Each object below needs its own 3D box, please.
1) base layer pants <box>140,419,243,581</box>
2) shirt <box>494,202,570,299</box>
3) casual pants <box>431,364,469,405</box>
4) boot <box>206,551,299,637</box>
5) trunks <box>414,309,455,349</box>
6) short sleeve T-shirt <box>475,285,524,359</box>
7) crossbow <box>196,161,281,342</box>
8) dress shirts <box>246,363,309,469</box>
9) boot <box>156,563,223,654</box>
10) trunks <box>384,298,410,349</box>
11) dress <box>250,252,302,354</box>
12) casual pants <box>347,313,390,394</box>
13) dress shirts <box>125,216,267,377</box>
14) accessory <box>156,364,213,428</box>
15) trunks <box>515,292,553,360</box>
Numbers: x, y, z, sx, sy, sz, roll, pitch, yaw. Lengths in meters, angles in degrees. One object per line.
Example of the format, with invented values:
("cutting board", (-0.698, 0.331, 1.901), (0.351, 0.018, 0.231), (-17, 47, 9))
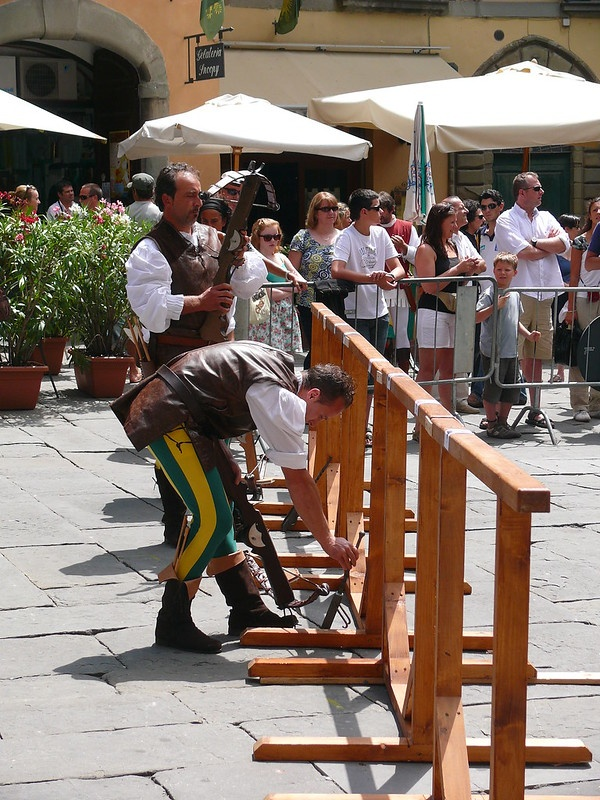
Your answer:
("base layer pants", (-0.363, 0.352, 4.210), (0.391, 0.592, 0.179), (2, 6, -14))
("shirt", (1.973, -1.283, 9.821), (0.390, 0.692, 0.508), (17, 14, 7))
("casual pants", (1.071, -0.121, 8.521), (0.290, 0.210, 0.369), (-4, -23, 0))
("boot", (-0.165, 0.747, 4.455), (0.309, 0.295, 0.133), (-7, -8, 6))
("trunks", (0.993, -0.519, 8.575), (0.268, 0.272, 0.361), (-7, 6, 8))
("short sleeve T-shirt", (1.451, -0.581, 8.674), (0.539, 0.589, 0.263), (-8, 11, -40))
("crossbow", (-0.316, -0.683, 5.427), (0.218, 0.695, 0.504), (29, 15, 31))
("dress shirts", (-0.027, 0.057, 3.911), (0.110, 0.276, 0.214), (-39, 36, -28))
("boot", (-0.358, 0.798, 4.309), (0.362, 0.329, 0.147), (4, 9, 1))
("trunks", (0.702, -0.575, 8.662), (0.157, 0.547, 0.158), (-19, 49, -11))
("dress", (-0.141, -0.654, 8.609), (0.247, 0.645, 0.284), (-2, 11, 29))
("casual pants", (0.529, -0.363, 8.517), (0.213, 0.570, 0.142), (1, 7, 27))
("dress shirts", (-0.529, -0.442, 5.113), (0.578, 0.549, 0.202), (11, -19, -35))
("accessory", (-0.421, -0.016, 4.113), (0.047, 0.181, 0.193), (-37, 30, -12))
("trunks", (1.866, -0.675, 9.445), (0.299, 0.506, 0.165), (-6, 40, 5))
